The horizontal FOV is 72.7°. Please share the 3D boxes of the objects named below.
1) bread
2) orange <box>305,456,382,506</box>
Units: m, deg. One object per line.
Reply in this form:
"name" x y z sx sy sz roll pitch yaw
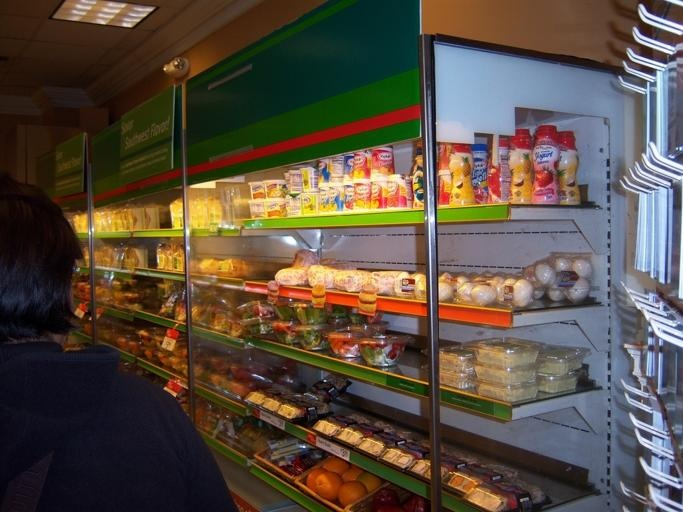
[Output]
"bread" 0.660 0.388 1.713 0.289 0.123 0.357 0 2 -33
"orange" -0.005 1.131 2.316 0.219 0.068 0.215 5 3 43
